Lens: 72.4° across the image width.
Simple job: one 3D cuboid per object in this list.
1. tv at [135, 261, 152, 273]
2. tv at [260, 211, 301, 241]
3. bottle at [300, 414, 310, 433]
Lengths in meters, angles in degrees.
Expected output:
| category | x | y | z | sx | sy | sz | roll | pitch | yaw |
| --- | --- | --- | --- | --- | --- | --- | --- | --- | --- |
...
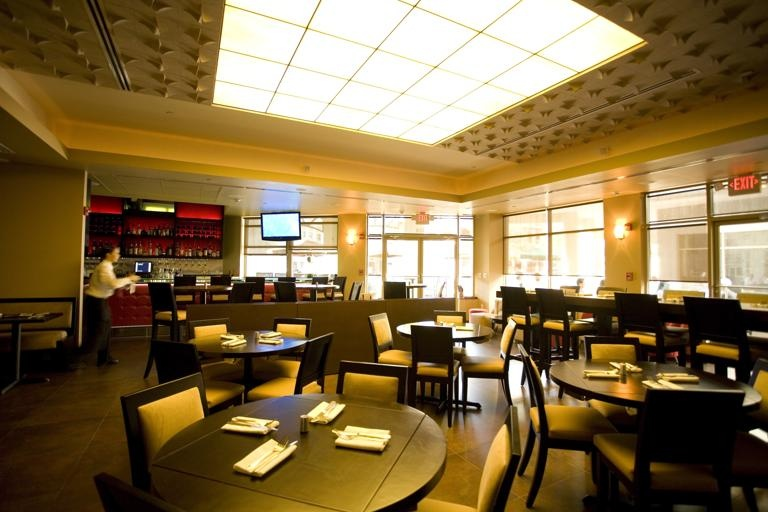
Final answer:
| category | x | y | z | sx | sy | sz | roll | pitch | yaw |
| --- | --- | --- | --- | --- | --- | --- | --- | --- | --- |
| tv | -5.845 | 0.270 | 12.738 | 0.291 | 0.315 | 0.346 | 19 | -7 | -16 |
| tv | -2.621 | -0.760 | 13.416 | 0.888 | 0.545 | 0.086 | 0 | 1 | 3 |
| bottle | -0.724 | 1.527 | 4.779 | 0.073 | 0.156 | 0.087 | 3 | -5 | -15 |
